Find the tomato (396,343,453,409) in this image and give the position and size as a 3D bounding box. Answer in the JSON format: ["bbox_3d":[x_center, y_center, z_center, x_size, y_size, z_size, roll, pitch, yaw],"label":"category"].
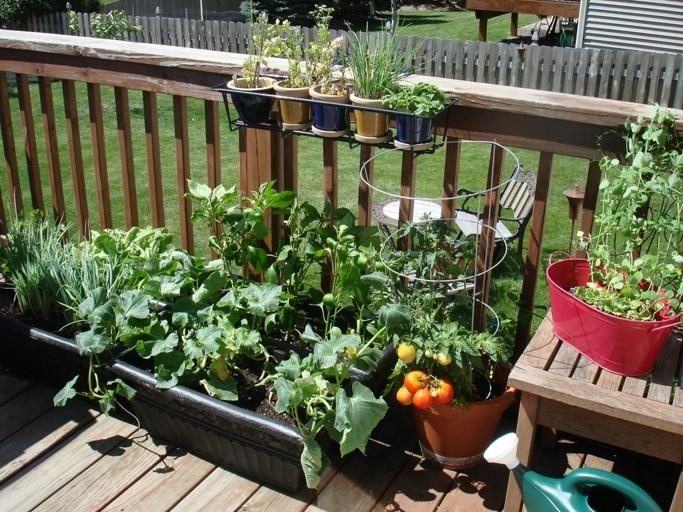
[{"bbox_3d":[0.263,0.402,1.734,0.189,0.204,0.078,5,-15,1],"label":"tomato"}]
